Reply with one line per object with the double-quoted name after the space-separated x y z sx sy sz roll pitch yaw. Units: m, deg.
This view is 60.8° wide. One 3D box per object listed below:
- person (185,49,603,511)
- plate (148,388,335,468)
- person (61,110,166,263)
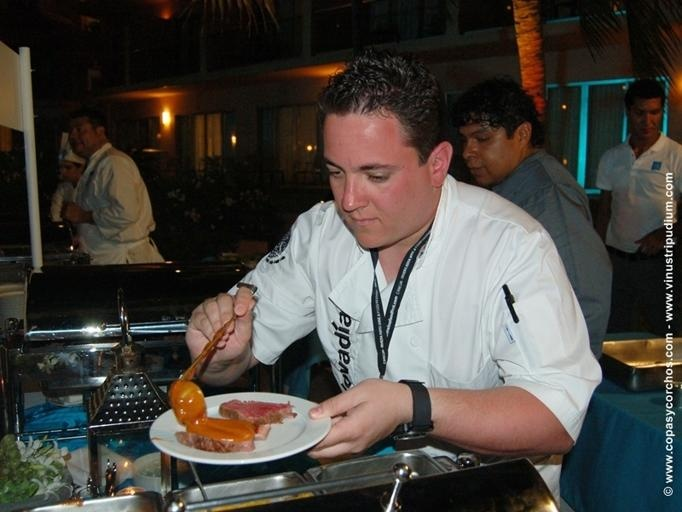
0.187 0.110 2.019 1.268 1.644 0.826 -4 2 25 "person"
-0.287 0.497 1.705 0.518 0.137 0.421 -5 2 -4 "plate"
-2.017 -0.605 5.052 0.686 1.233 0.584 -5 2 -18 "person"
